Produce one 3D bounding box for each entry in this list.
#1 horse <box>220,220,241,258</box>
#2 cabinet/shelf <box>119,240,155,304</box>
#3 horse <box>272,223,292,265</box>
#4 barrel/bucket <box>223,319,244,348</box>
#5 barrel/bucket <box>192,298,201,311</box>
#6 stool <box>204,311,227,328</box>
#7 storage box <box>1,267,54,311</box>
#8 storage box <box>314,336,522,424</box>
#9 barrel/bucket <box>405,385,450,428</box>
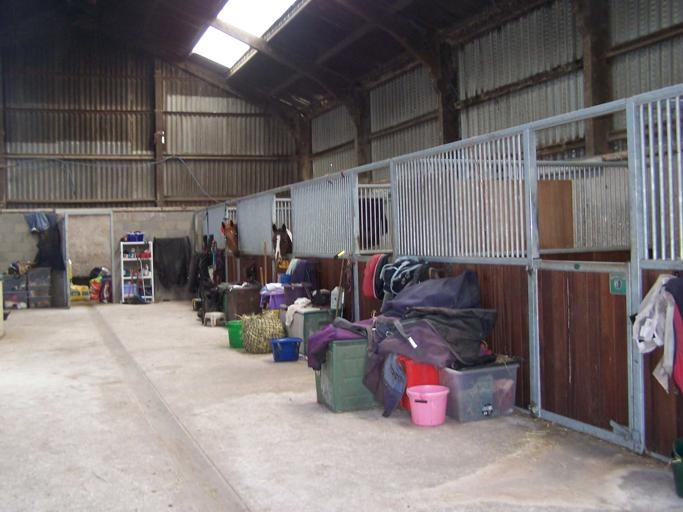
[{"bbox_3d":[-2.153,-0.337,12.259,0.138,0.718,0.330,-9,-3,-3],"label":"horse"},{"bbox_3d":[-4.954,0.372,15.249,0.775,1.467,0.678,-3,5,-16],"label":"cabinet/shelf"},{"bbox_3d":[-0.922,-0.185,9.868,0.455,0.633,0.190,3,6,38],"label":"horse"},{"bbox_3d":[-1.457,1.077,8.669,0.331,0.417,0.301,0,-9,0],"label":"barrel/bucket"},{"bbox_3d":[-3.023,1.011,13.155,0.112,0.240,0.309,-4,6,-28],"label":"barrel/bucket"},{"bbox_3d":[-2.147,1.064,10.686,0.251,0.201,0.263,1,0,-34],"label":"stool"},{"bbox_3d":[-6.876,0.723,13.774,0.702,0.845,0.303,0,2,-13],"label":"storage box"},{"bbox_3d":[0.656,1.103,5.798,1.883,0.651,0.420,0,5,16],"label":"storage box"},{"bbox_3d":[0.746,1.295,5.576,0.299,0.266,0.312,0,-1,0],"label":"barrel/bucket"}]
